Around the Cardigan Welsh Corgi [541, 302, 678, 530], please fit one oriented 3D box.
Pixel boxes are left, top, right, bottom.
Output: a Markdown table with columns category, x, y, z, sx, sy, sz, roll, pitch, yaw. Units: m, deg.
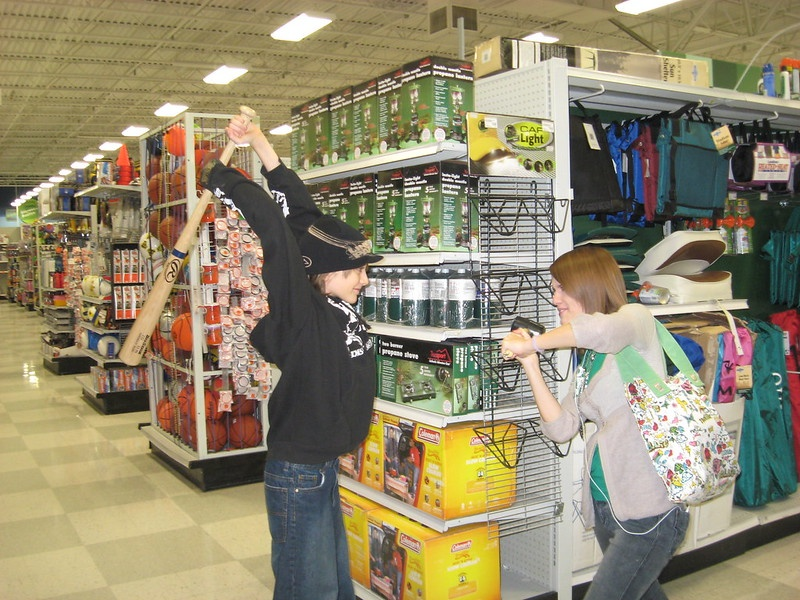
| category | x | y | z | sx | sy | sz | roll | pitch | yaw |
| --- | --- | --- | --- | --- | --- | --- | --- | --- | --- |
| Cardigan Welsh Corgi | 0.902 | 0.459 | 2.860 | 0.439 | 0.852 | 0.527 | 10 | 9 | 28 |

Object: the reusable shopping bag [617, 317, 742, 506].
| category | x | y | z | sx | sy | sz | roll | pitch | yaw |
| --- | --- | --- | --- | --- | --- | --- | --- | --- | --- |
| reusable shopping bag | 1.136 | 0.456 | 2.749 | 0.466 | 0.686 | 0.290 | 3 | 6 | 27 |

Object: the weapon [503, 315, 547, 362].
| category | x | y | z | sx | sy | sz | roll | pitch | yaw |
| --- | --- | --- | --- | --- | --- | --- | --- | --- | --- |
| weapon | 0.528 | 0.169 | 2.870 | 0.227 | 0.124 | 0.123 | 22 | 16 | 25 |
